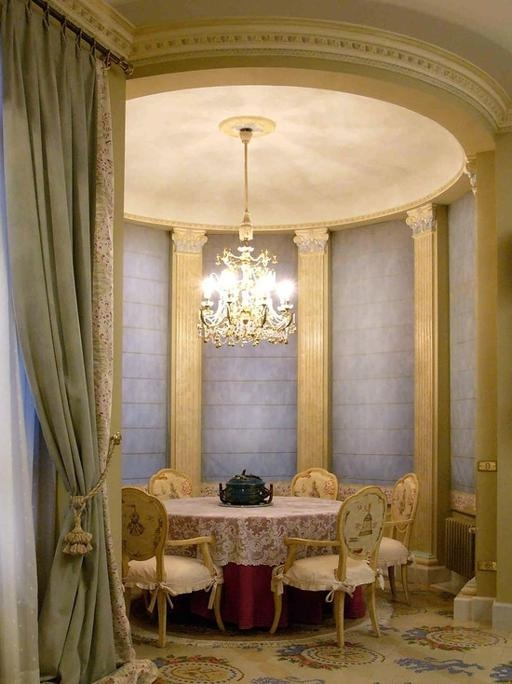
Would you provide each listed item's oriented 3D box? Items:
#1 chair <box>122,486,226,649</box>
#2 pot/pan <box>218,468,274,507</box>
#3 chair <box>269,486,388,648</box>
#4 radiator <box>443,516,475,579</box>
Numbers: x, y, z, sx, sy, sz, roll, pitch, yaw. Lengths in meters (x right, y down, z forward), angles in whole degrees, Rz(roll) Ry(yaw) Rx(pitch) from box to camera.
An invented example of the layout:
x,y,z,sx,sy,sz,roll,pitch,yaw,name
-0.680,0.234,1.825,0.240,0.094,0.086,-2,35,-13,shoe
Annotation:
x,y,z,sx,sy,sz,roll,pitch,yaw,name
-0.564,1.395,3.902,0.607,0.904,0.604,-4,-9,37,chair
-0.090,1.155,4.644,0.407,0.284,0.291,0,-16,0,pot/pan
0.498,1.388,3.896,0.631,0.906,0.623,8,-10,-42,chair
1.730,1.740,5.119,0.125,0.484,0.343,-1,-9,-11,radiator
